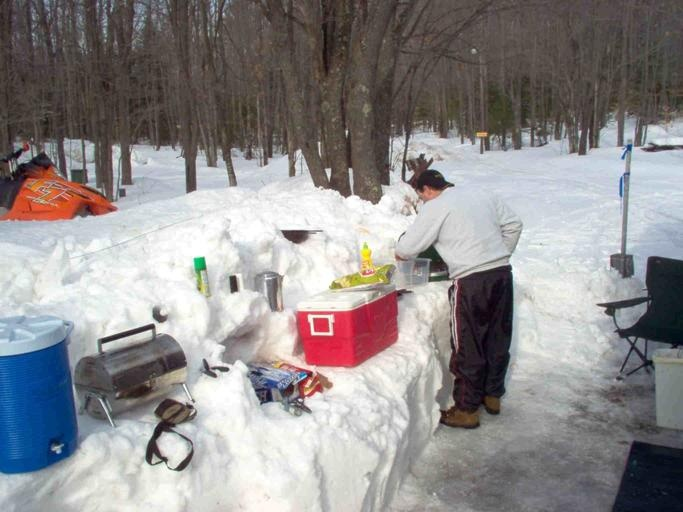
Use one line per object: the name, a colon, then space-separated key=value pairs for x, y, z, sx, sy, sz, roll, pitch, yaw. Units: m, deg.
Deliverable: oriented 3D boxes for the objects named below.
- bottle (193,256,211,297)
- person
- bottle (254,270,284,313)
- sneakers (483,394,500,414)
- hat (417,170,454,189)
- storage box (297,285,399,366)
bottle: x=-1.111 y=0.150 z=4.183 sx=0.112 sy=0.309 sz=0.278 roll=-5 pitch=10 yaw=-15
person: x=1.184 y=0.369 z=5.072 sx=1.136 sy=2.366 sz=0.667 roll=-1 pitch=9 yaw=8
bottle: x=-0.616 y=0.317 z=4.626 sx=0.241 sy=0.332 sz=0.334 roll=-5 pitch=11 yaw=-17
sneakers: x=1.491 y=1.421 z=5.191 sx=0.090 sy=0.228 sz=0.219 roll=-2 pitch=20 yaw=-3
hat: x=0.905 y=-0.730 z=5.094 sx=0.288 sy=0.178 sz=0.187 roll=-3 pitch=15 yaw=30
storage box: x=0.092 y=0.600 z=4.736 sx=0.619 sy=0.624 sz=0.918 roll=-3 pitch=5 yaw=43
